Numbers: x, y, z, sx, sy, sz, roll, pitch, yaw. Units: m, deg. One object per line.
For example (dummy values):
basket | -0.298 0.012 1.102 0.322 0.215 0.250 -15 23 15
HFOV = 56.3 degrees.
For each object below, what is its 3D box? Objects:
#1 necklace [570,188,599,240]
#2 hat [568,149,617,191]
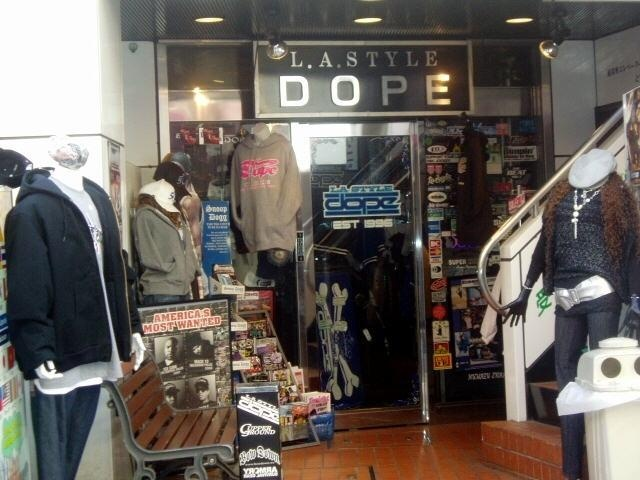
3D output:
necklace | 1.645 -0.167 3.804 0.117 0.345 0.030 4 -8 19
hat | 1.712 -0.441 3.797 0.236 0.272 0.097 40 -7 38
